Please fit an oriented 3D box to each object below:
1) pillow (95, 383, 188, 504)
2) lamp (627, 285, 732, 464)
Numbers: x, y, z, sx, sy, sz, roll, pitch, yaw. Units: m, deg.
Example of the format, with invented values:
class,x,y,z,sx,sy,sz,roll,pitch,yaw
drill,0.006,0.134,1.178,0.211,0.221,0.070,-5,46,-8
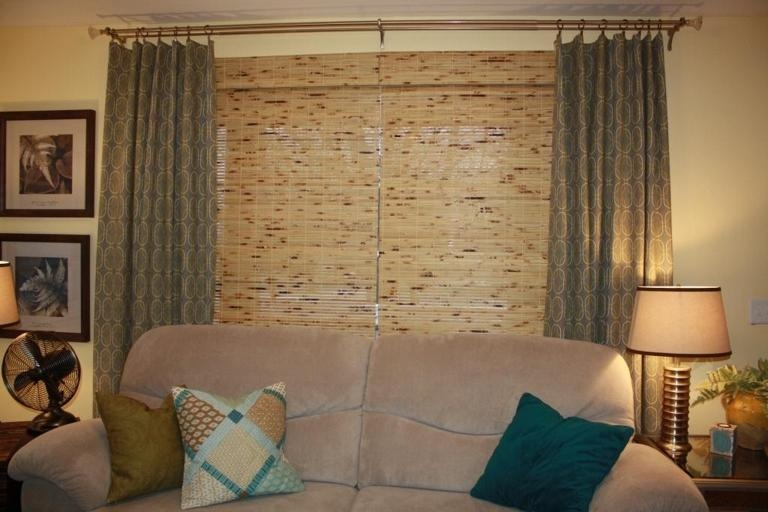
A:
class,x,y,z,sx,sy,sz,roll,pitch,yaw
pillow,-1.334,1.059,4.044,0.613,0.469,0.274,-2,3,-39
lamp,1.821,0.700,4.568,0.644,1.034,0.616,2,-1,-26
